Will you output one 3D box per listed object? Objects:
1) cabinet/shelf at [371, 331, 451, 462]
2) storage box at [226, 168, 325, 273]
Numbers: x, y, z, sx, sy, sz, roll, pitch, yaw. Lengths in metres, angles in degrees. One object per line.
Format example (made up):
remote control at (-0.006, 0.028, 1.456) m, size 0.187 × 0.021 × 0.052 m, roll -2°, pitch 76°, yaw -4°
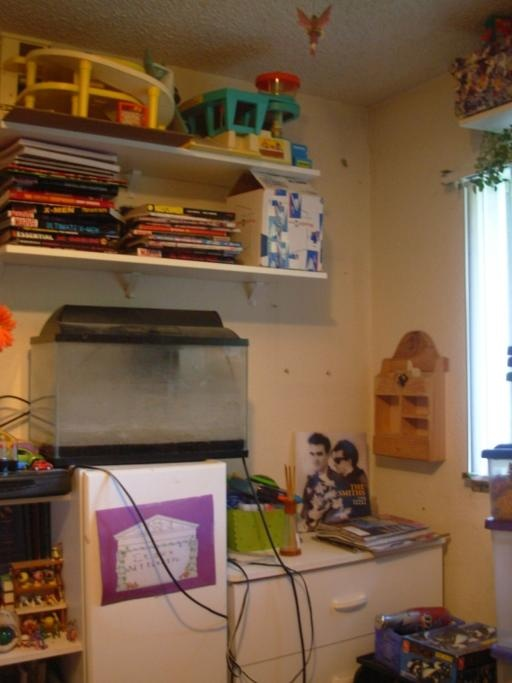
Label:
cabinet/shelf at (0.513, 0.197, 2.132) m, size 0.160 × 0.470 × 0.348 m, roll -1°, pitch -4°, yaw -25°
storage box at (0.053, -0.400, 1.957) m, size 0.236 × 0.291 × 0.222 m, roll -2°, pitch 6°, yaw -34°
